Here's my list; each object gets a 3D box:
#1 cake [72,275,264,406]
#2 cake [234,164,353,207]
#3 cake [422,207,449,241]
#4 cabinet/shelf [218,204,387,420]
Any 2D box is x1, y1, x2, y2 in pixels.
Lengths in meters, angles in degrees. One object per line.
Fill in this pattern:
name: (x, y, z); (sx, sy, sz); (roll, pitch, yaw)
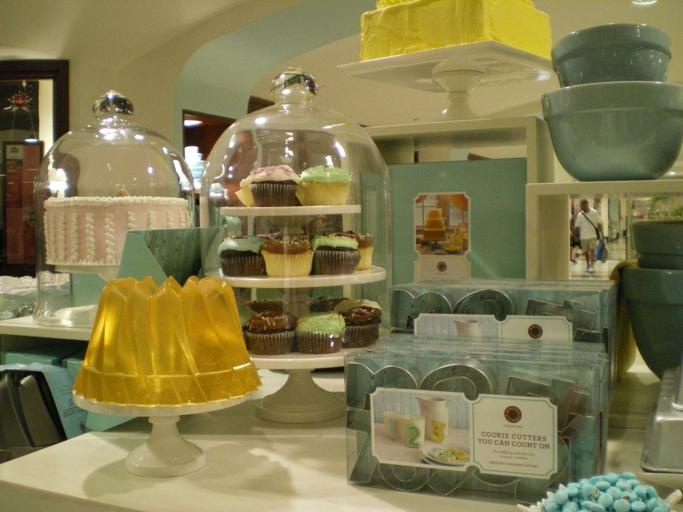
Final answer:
cake: (-0.266, 0.103, 0.906); (0.221, 0.140, 0.221); (2, -2, -28)
cake: (-0.105, -0.148, 1.186); (0.257, 0.083, 0.176); (-2, 7, -5)
cake: (0.233, -0.079, 1.397); (0.068, 0.070, 0.070); (1, 11, 6)
cabinet/shelf: (-0.075, 0.112, 1.303); (0.395, 0.486, 0.414); (-1, 0, -3)
